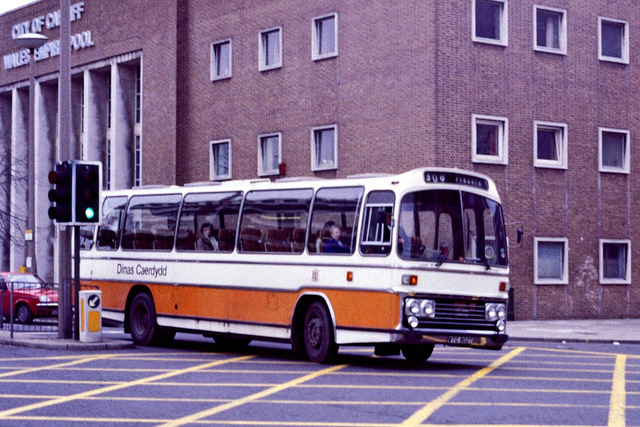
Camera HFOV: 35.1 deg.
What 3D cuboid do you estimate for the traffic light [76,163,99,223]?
[{"bbox_3d":[-6.383,-0.537,27.646,0.510,1.623,0.513,2,-2,-12],"label":"traffic light"}]

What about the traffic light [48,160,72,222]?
[{"bbox_3d":[-7.078,-0.657,27.531,0.661,1.726,0.502,4,-8,-23],"label":"traffic light"}]

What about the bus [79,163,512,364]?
[{"bbox_3d":[-1.263,1.563,27.938,12.761,5.062,3.118,-6,-10,35],"label":"bus"}]
